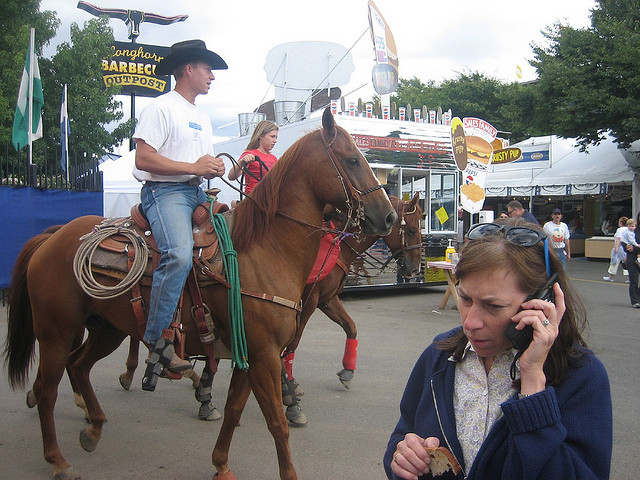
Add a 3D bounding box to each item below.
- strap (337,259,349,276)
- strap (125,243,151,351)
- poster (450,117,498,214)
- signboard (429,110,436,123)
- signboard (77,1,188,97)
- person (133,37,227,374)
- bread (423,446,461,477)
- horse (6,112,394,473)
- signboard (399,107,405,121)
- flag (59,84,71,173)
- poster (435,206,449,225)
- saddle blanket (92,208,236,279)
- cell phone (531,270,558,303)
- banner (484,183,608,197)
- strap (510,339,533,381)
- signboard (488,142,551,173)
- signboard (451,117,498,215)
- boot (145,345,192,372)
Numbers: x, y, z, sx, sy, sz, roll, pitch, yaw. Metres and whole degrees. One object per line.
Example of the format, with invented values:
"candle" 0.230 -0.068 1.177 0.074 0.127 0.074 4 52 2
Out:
"strap" 0.235 0.290 5.882 0.034 0.147 0.107 -14 -3 -26
"strap" -1.346 0.411 4.097 0.205 0.700 0.201 -5 11 -35
"poster" 3.633 -1.737 13.337 1.162 2.247 0.086 11 26 39
"signboard" 2.820 -3.081 14.186 0.106 0.329 0.418 1 4 17
"signboard" -9.071 -9.263 27.930 3.706 4.300 2.224 -1 4 -30
"person" -1.039 -0.298 4.425 0.778 2.522 0.842 1 1 18
"bread" 0.549 0.995 2.539 0.162 0.120 0.052 1 4 11
"horse" -1.020 0.431 4.271 2.988 2.712 0.867 2 4 19
"signboard" 1.948 -3.002 13.500 0.126 0.343 0.415 1 3 7
"flag" -6.685 -2.804 14.762 0.328 2.840 0.259 -12 53 -32
"poster" 2.941 -0.585 13.524 0.287 0.375 0.394 0 3 0
"saddle blanket" -1.502 0.128 4.428 0.635 0.202 0.634 6 31 4
"cell phone" 1.014 0.216 2.547 0.051 0.131 0.084 37 19 3
"banner" 8.696 -1.936 22.125 0.566 0.393 4.967 -2 4 -33
"strap" 0.905 0.537 2.543 0.088 0.163 0.038 16 -2 37
"signboard" 8.269 -3.508 23.997 2.881 1.439 0.127 1 -25 26
"signboard" 3.572 -1.777 13.400 1.444 2.321 0.561 -3 5 -42
"boot" -1.081 0.871 4.066 0.255 0.207 0.134 24 -2 -7
